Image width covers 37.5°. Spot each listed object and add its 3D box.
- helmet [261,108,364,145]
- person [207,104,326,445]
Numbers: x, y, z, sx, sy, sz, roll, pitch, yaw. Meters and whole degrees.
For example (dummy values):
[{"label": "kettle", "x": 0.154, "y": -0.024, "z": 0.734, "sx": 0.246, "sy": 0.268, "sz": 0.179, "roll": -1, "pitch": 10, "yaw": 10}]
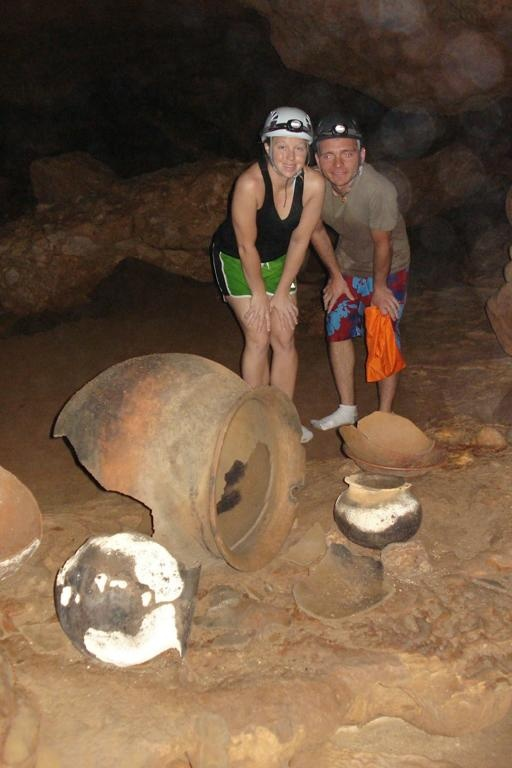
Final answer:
[{"label": "helmet", "x": 0.295, "y": -1.358, "z": 3.978, "sx": 0.440, "sy": 0.118, "sz": 0.273, "roll": 0, "pitch": 21, "yaw": -2}, {"label": "person", "x": 0.052, "y": -0.679, "z": 4.338, "sx": 0.595, "sy": 1.717, "sz": 0.378, "roll": 1, "pitch": 24, "yaw": -4}]
